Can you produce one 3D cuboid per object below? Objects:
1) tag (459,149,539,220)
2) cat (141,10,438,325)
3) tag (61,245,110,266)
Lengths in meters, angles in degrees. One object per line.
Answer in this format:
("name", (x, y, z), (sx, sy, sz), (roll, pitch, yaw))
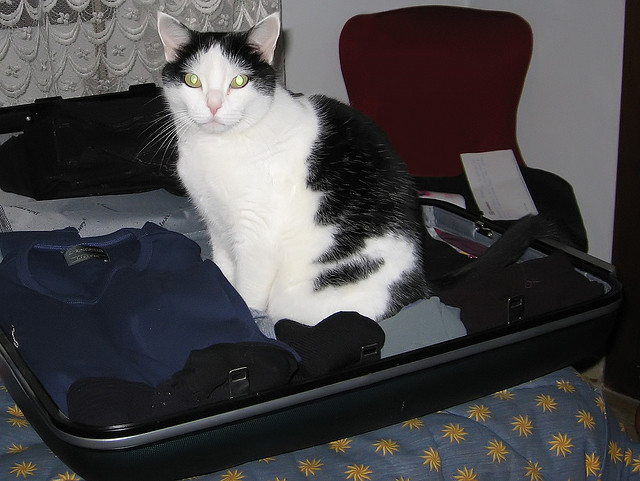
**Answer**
("tag", (0.620, -0.192, 2.100), (0.178, 0.126, 0.328), (-5, 29, 1))
("cat", (-0.181, -0.214, 1.737), (0.621, 0.891, 0.748), (10, 25, 16))
("tag", (-0.545, 0.028, 1.392), (0.095, 0.027, 0.082), (-17, 31, -20))
